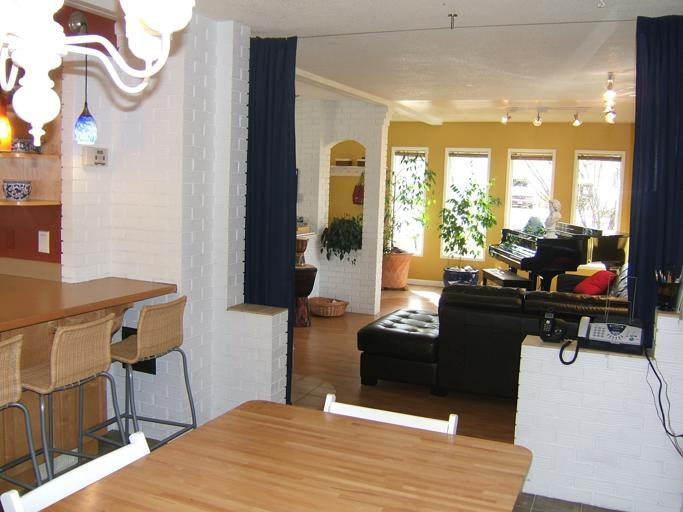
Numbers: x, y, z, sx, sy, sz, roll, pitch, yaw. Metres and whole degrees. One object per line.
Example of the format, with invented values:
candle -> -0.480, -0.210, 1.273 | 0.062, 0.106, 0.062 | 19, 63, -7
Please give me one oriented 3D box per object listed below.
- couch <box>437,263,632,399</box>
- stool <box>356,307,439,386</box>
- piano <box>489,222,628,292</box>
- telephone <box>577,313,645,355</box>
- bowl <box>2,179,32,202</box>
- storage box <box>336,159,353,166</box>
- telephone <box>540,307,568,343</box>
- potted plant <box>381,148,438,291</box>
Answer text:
couch -> 1.576, 0.928, 4.916 | 1.702, 1.121, 1.013 | 2, 9, 23
stool -> 0.574, 0.978, 5.520 | 0.810, 0.683, 0.819 | 3, 9, 9
piano -> 3.306, -0.054, 8.028 | 1.486, 0.912, 1.244 | 0, 4, -11
telephone -> 1.805, 0.495, 3.610 | 0.421, 0.129, 0.337 | -2, 25, 23
bowl -> -2.394, -0.487, 3.910 | 0.229, 0.142, 0.131 | 3, 9, 9
storage box -> 0.043, -1.748, 9.998 | 0.153, 0.097, 0.207 | 0, 2, 13
telephone -> 1.458, 0.520, 3.786 | 0.231, 0.158, 0.295 | -7, 45, 28
potted plant -> 1.299, -0.731, 10.238 | 0.912, 2.687, 1.040 | 3, 9, 9
